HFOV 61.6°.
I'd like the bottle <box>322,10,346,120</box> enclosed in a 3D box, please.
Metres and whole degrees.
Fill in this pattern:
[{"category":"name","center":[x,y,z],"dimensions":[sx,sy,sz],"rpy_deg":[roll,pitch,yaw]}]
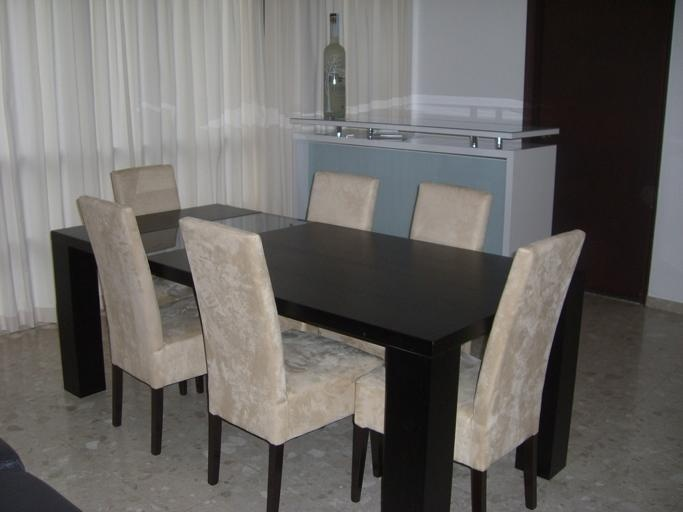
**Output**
[{"category":"bottle","center":[-0.054,-1.425,4.353],"dimensions":[0.162,0.759,0.321],"rpy_deg":[-1,17,-2]}]
